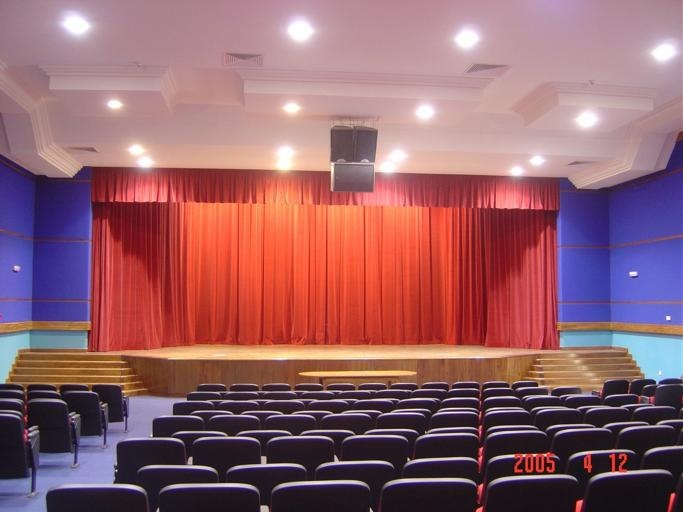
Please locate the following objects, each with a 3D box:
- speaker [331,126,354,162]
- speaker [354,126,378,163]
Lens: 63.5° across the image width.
[{"bbox_3d":[-0.015,-1.946,9.678,0.548,0.669,0.539,0,3,-3],"label":"speaker"},{"bbox_3d":[0.400,-1.928,9.616,0.381,0.594,0.270,1,-4,-4],"label":"speaker"}]
